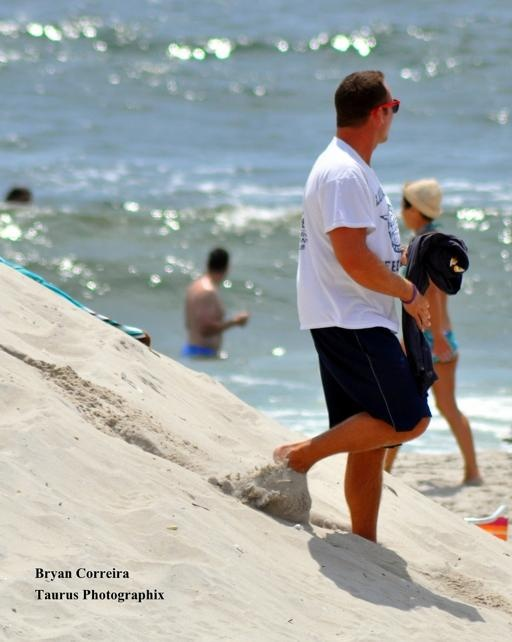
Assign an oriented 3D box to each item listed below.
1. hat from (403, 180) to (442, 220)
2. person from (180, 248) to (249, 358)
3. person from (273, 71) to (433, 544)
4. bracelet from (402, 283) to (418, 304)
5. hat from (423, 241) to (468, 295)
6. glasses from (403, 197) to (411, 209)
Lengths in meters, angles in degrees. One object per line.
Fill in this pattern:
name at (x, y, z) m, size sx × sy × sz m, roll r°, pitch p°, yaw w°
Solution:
hat at (1.245, -0.930, 9.263) m, size 0.260 × 0.129 × 0.306 m, roll 45°, pitch 8°, yaw -48°
person at (-0.524, -0.172, 14.038) m, size 0.503 × 1.317 × 0.772 m, roll 2°, pitch 8°, yaw -4°
person at (0.629, -0.260, 7.130) m, size 0.861 × 2.300 × 0.476 m, roll 6°, pitch 9°, yaw 18°
bracelet at (0.873, -0.149, 7.017) m, size 0.030 × 0.096 × 0.104 m, roll 31°, pitch 7°, yaw -26°
hat at (1.110, -0.312, 7.339) m, size 0.262 × 0.297 × 0.139 m, roll -1°, pitch 8°, yaw 4°
glasses at (1.116, -0.873, 9.289) m, size 0.073 × 0.059 × 0.064 m, roll -8°, pitch 37°, yaw -1°
